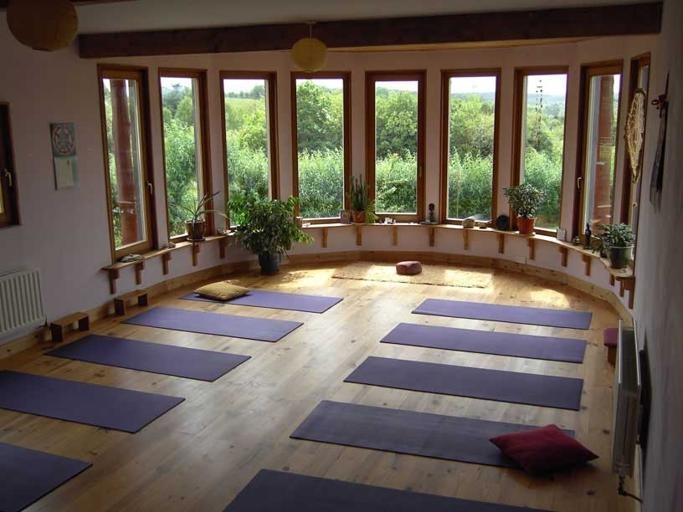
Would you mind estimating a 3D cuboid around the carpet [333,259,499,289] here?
[{"bbox_3d":[1.357,0.342,9.130,2.818,0.169,1.200,0,13,13],"label":"carpet"}]

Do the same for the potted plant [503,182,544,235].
[{"bbox_3d":[3.373,-0.803,8.976,0.565,0.800,0.644,-4,9,-11],"label":"potted plant"}]

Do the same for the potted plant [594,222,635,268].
[{"bbox_3d":[3.702,-0.175,6.685,0.492,0.649,0.580,-1,5,-19],"label":"potted plant"}]

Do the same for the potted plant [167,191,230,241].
[{"bbox_3d":[-2.587,-0.706,8.881,0.776,0.784,0.803,3,4,29],"label":"potted plant"}]

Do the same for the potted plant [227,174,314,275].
[{"bbox_3d":[-1.346,-0.284,9.172,1.062,1.253,0.874,-11,-10,25],"label":"potted plant"}]

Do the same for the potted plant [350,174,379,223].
[{"bbox_3d":[0.457,-1.166,10.061,0.533,0.960,0.283,-4,13,-4],"label":"potted plant"}]
